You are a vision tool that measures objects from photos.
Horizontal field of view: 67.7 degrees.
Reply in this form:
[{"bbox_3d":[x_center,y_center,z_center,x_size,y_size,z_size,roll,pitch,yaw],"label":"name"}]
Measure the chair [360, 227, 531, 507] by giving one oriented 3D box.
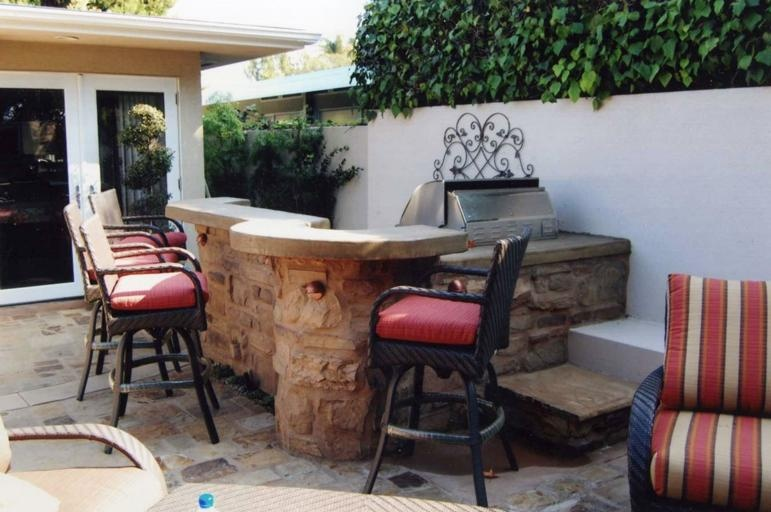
[{"bbox_3d":[0.338,0.604,3.312,0.885,1.476,0.953,1,15,14],"label":"chair"}]
